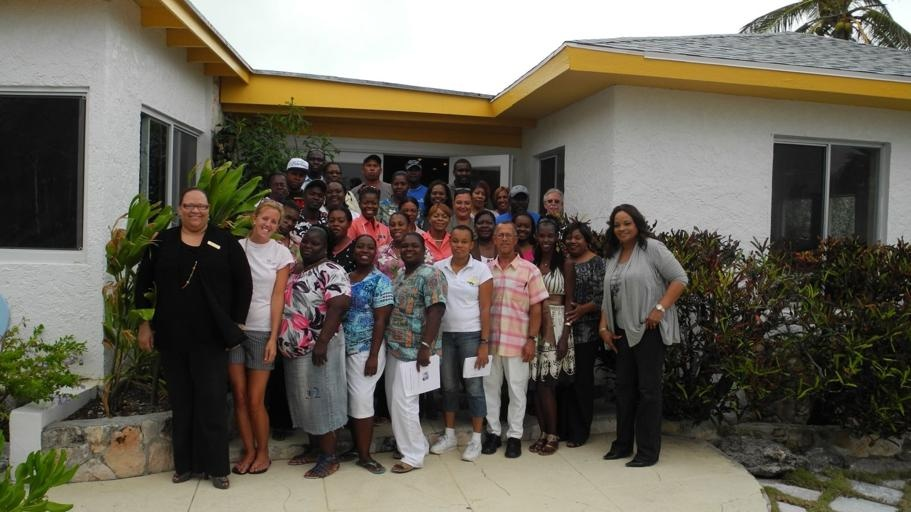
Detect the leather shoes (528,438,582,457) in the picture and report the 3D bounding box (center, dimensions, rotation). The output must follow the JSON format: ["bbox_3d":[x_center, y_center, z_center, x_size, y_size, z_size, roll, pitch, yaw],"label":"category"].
[{"bbox_3d":[1.285,2.382,7.849,0.688,0.227,0.217,0,3,-17],"label":"leather shoes"}]

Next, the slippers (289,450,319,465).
[{"bbox_3d":[-1.794,2.404,7.440,0.441,0.145,0.144,0,12,-16],"label":"slippers"}]

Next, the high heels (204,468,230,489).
[{"bbox_3d":[-2.706,2.502,7.012,0.404,0.145,0.130,6,3,26],"label":"high heels"}]

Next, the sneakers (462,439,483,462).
[{"bbox_3d":[0.233,2.377,7.556,0.144,0.121,0.317,4,9,24],"label":"sneakers"}]

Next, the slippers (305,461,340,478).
[{"bbox_3d":[-1.553,2.468,7.187,0.326,0.107,0.172,5,-7,-25],"label":"slippers"}]

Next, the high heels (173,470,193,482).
[{"bbox_3d":[-3.122,2.513,7.073,0.223,0.074,0.112,6,-6,-26],"label":"high heels"}]

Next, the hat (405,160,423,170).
[{"bbox_3d":[-0.635,-1.417,9.551,0.218,0.142,0.282,1,0,-4],"label":"hat"}]
